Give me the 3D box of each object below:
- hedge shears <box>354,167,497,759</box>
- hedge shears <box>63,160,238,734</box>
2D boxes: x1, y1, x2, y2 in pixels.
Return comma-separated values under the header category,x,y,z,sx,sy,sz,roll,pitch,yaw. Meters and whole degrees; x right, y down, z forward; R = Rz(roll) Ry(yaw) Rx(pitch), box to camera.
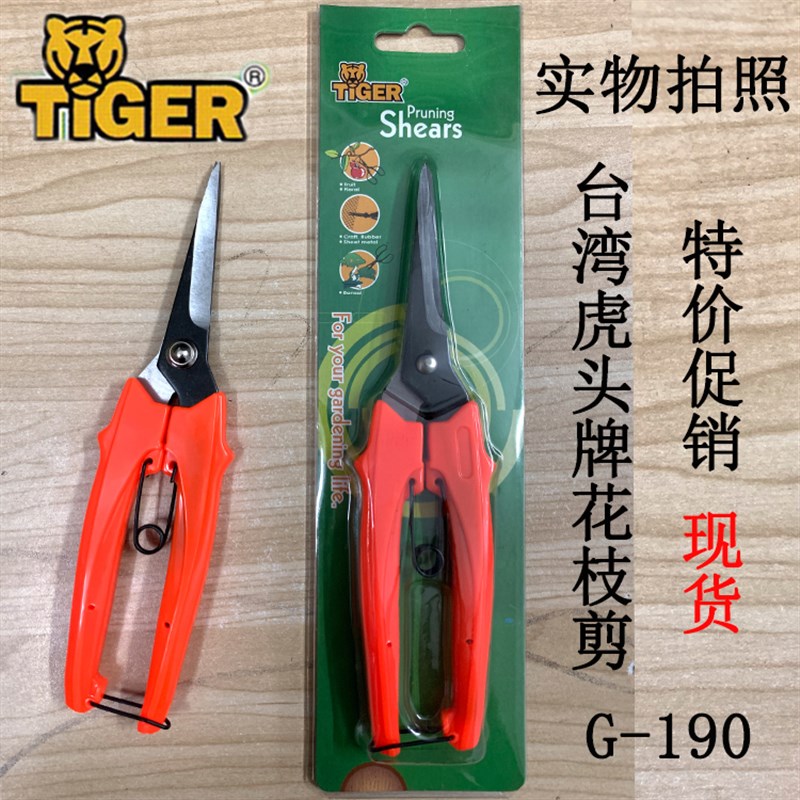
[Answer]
category,x,y,z,sx,sy,sz,roll,pitch,yaw
hedge shears,0.021,0.054,1.225,0.135,0.681,0.133,1,1,-31
hedge shears,-0.286,0.041,1.239,0.186,0.657,0.109,1,2,-31
